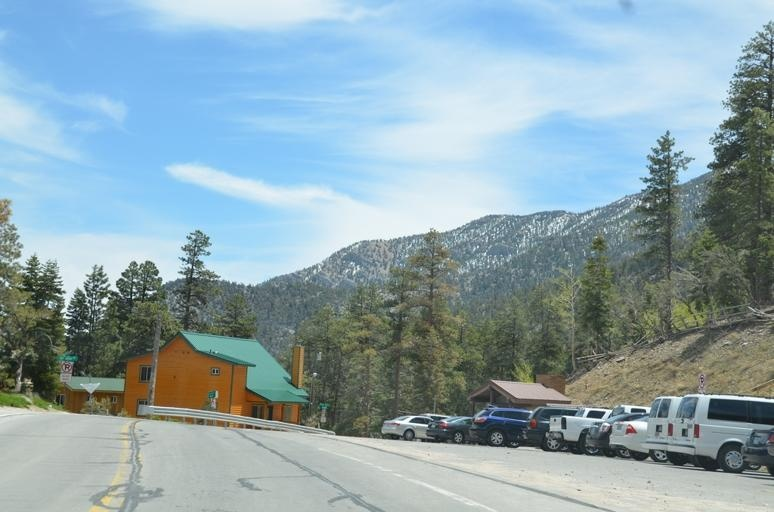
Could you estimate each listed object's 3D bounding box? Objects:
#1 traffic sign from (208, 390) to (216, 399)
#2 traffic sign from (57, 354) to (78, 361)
[{"bbox_3d":[-17.332,13.557,89.132,0.684,0.888,0.832,10,-15,-29],"label":"traffic sign"},{"bbox_3d":[-26.273,8.373,73.951,1.135,0.430,1.936,11,-17,-33],"label":"traffic sign"}]
